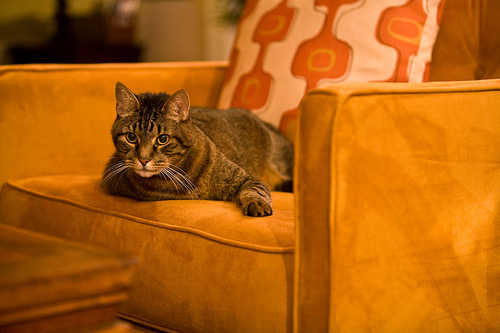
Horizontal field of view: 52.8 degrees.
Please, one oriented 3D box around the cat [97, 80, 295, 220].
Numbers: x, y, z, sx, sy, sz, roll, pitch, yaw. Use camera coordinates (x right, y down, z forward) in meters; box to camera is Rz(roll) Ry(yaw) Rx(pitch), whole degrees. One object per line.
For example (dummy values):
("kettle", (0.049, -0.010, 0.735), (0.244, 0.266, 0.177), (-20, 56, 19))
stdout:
("cat", (-0.140, -0.081, 1.966), (0.726, 0.429, 0.932), (3, 12, 29))
